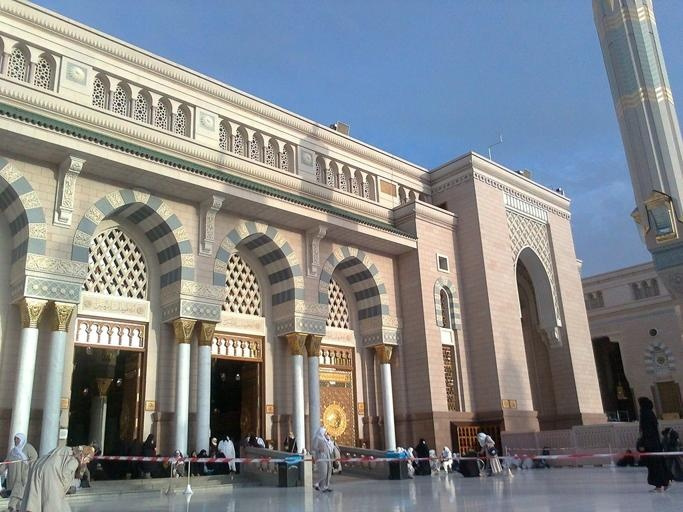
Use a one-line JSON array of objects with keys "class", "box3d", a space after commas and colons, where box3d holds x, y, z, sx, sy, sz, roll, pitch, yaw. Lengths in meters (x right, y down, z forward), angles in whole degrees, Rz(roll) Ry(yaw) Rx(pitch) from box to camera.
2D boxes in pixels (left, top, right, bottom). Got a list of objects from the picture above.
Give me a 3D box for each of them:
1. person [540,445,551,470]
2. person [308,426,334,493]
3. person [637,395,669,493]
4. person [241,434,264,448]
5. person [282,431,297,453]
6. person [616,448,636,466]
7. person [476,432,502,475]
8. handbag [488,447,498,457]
[{"class": "person", "box3d": [6.809, 6.753, 18.496, 0.320, 0.691, 0.726, -11, -24, 17]}, {"class": "person", "box3d": [-0.416, 4.432, 12.040, 0.382, 1.338, 0.720, -1, -22, -5]}, {"class": "person", "box3d": [5.223, 3.194, 9.391, 0.435, 1.539, 0.380, -1, -7, -26]}, {"class": "person", "box3d": [-2.488, 5.162, 15.405, 0.673, 0.491, 1.618, 0, -23, -8]}, {"class": "person", "box3d": [-1.491, 5.373, 15.912, 0.383, 0.570, 0.892, -1, -23, -6]}, {"class": "person", "box3d": [8.666, 6.214, 16.909, 0.580, 0.495, 1.386, -13, -25, 22]}, {"class": "person", "box3d": [4.253, 5.711, 15.956, 0.477, 1.194, 2.720, -8, -23, 12]}, {"class": "handbag", "box3d": [4.181, 5.471, 15.407, 0.244, 0.164, 0.320, 0, -41, -1]}]
